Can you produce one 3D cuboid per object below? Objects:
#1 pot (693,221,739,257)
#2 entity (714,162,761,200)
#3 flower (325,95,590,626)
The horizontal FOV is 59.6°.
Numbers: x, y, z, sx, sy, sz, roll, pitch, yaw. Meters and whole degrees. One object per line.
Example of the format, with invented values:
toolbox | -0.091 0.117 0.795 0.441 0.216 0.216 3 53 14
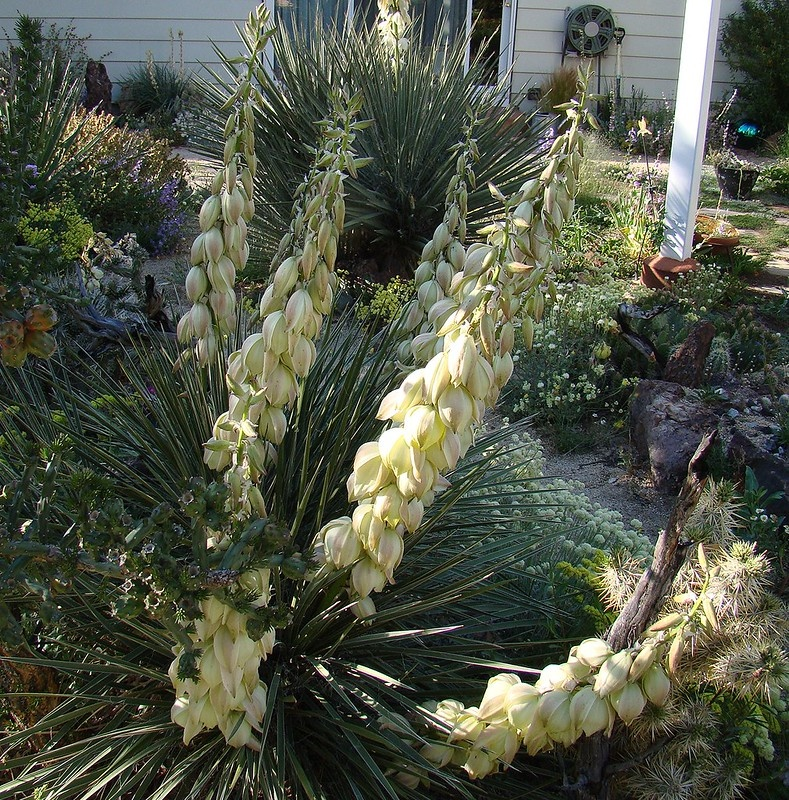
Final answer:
pot | 2.762 -1.394 6.038 0.438 0.181 0.493 -3 28 -6
entity | 4.049 -2.539 8.117 0.455 0.355 0.461 1 16 -10
flower | 0.089 -0.037 1.105 0.309 0.912 0.568 9 18 13
